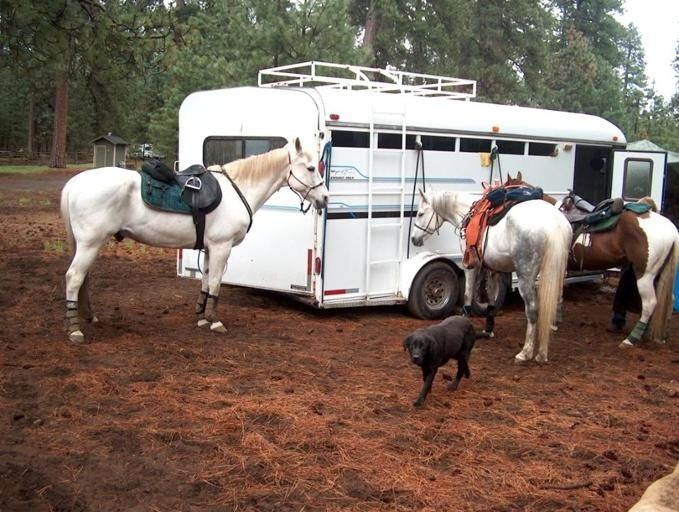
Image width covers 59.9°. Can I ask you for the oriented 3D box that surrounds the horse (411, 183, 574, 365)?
[{"bbox_3d":[2.317,0.175,9.155,0.715,2.431,2.799,-6,10,-37],"label":"horse"}]

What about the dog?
[{"bbox_3d":[1.304,1.224,7.092,0.362,0.847,1.512,-1,2,42],"label":"dog"}]
